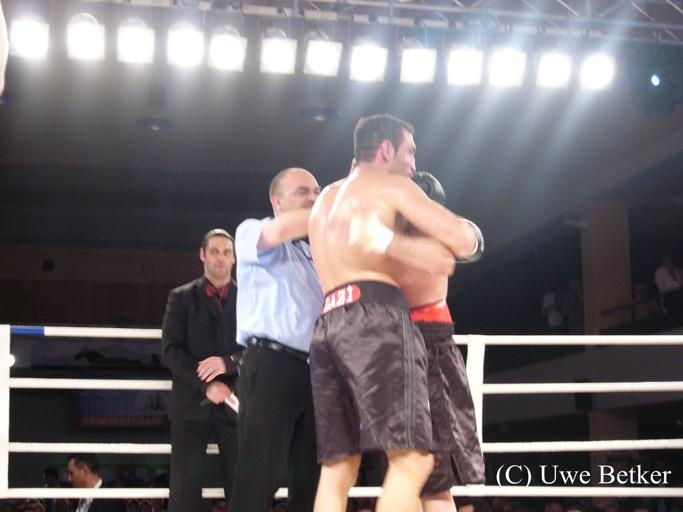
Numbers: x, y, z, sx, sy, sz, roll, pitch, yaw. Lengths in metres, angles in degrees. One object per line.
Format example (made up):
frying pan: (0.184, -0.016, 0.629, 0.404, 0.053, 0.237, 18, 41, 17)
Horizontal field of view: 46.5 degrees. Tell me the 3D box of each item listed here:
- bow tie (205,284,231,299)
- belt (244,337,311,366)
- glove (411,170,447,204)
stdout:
bow tie: (-0.893, 0.268, 5.680, 0.095, 0.061, 0.134, 6, -16, -12)
belt: (-0.402, 0.593, 4.975, 0.377, 0.178, 0.064, -3, -23, -2)
glove: (0.563, -0.417, 5.034, 0.168, 0.233, 0.074, -38, -7, -2)
